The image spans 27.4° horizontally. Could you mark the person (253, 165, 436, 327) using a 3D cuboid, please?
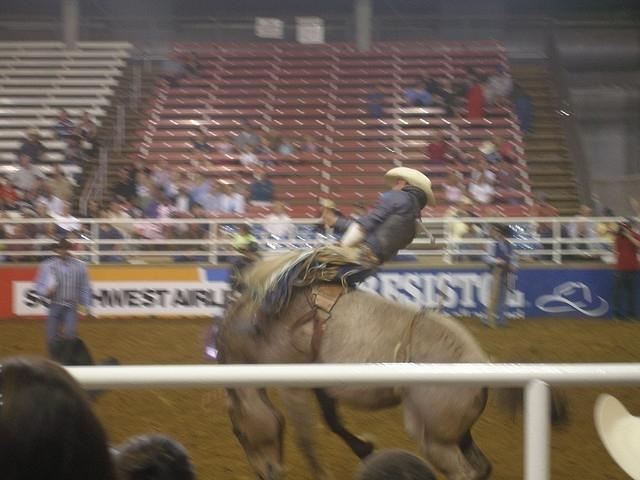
[{"bbox_3d":[0.299,0.117,14.314,2.517,0.822,0.862,-28,-23,-7],"label":"person"}]

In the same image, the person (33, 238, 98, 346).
[{"bbox_3d":[-2.822,0.565,14.432,0.555,1.187,0.326,3,3,27],"label":"person"}]
